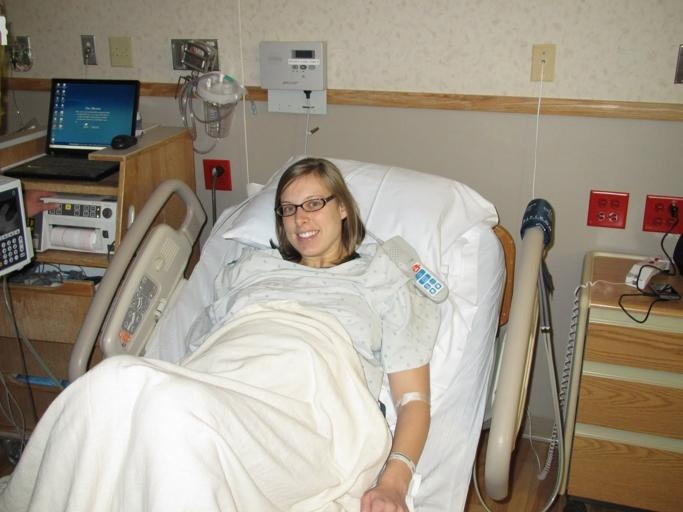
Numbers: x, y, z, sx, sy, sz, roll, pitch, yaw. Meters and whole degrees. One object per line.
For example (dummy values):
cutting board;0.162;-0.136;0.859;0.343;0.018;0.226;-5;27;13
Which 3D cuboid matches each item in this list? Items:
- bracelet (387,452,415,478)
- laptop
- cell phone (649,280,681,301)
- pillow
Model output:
bracelet;0.173;0.584;1.412;0.044;0.073;0.064;-14;8;-39
laptop;-1.202;-0.525;2.342;0.482;0.420;0.536;7;23;6
cell phone;1.185;0.131;1.791;0.107;0.046;0.085;3;13;4
pillow;0.129;-0.224;1.986;0.786;0.157;0.552;14;54;12
